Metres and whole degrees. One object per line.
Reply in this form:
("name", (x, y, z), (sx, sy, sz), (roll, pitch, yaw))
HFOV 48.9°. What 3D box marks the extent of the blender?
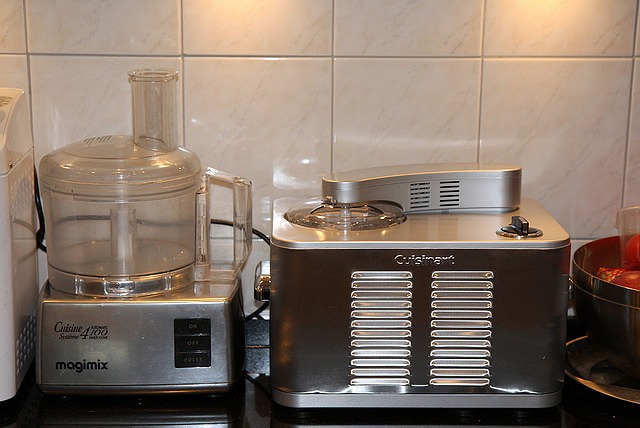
("blender", (-0.342, 0.034, 1.285), (0.424, 0.513, 0.323), (-3, 9, -23))
